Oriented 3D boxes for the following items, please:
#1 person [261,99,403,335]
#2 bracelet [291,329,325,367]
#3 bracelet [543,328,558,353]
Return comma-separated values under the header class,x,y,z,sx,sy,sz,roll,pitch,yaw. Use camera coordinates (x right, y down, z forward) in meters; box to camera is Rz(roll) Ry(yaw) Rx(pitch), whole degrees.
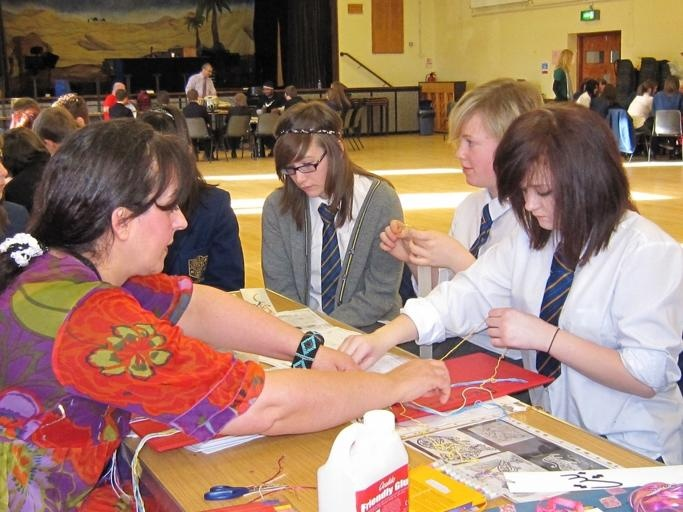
class,x,y,z,sx,sy,sz,roll,pitch,yaw
person,-0.059,-0.173,2.400,0.605,0.972,0.665,2,26,10
bracelet,-0.087,0.238,1.447,0.034,0.093,0.067,23,-13,-3
bracelet,0.545,0.216,1.421,0.012,0.050,0.044,30,-3,14
